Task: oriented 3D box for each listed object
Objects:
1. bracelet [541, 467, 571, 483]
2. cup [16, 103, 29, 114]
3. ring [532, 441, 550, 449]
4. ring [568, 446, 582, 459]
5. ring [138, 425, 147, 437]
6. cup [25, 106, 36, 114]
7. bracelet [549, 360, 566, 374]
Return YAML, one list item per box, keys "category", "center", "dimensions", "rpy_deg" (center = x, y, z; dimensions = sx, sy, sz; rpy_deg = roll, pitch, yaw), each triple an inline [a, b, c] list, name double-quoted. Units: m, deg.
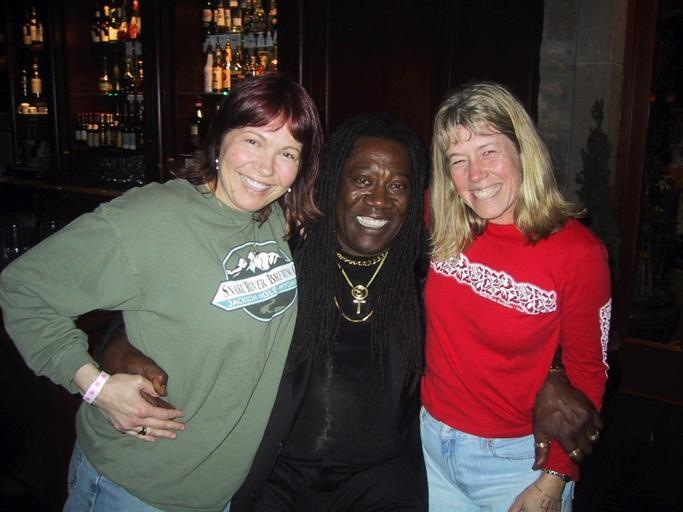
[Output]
- category: "bracelet"
  center: [0.915, 0.925, 2.346]
  dimensions: [0.118, 0.066, 0.037]
  rpy_deg: [-1, 5, 0]
- category: "cup"
  center: [-3.665, -1.683, 6.390]
  dimensions: [0.098, 0.148, 0.146]
  rpy_deg: [4, 7, -6]
- category: "ring"
  center: [0.852, 0.790, 2.337]
  dimensions: [0.065, 0.039, 0.033]
  rpy_deg: [0, 5, 12]
- category: "ring"
  center: [0.959, 0.798, 2.277]
  dimensions: [0.046, 0.034, 0.047]
  rpy_deg: [-28, 2, 1]
- category: "ring"
  center: [-0.770, 0.676, 2.151]
  dimensions: [0.030, 0.034, 0.040]
  rpy_deg: [1, 7, -11]
- category: "cup"
  center: [-3.580, -1.653, 6.385]
  dimensions: [0.093, 0.084, 0.090]
  rpy_deg: [1, -1, 0]
- category: "bracelet"
  center: [0.928, 0.479, 2.397]
  dimensions: [0.045, 0.019, 0.044]
  rpy_deg: [-4, 48, 17]
